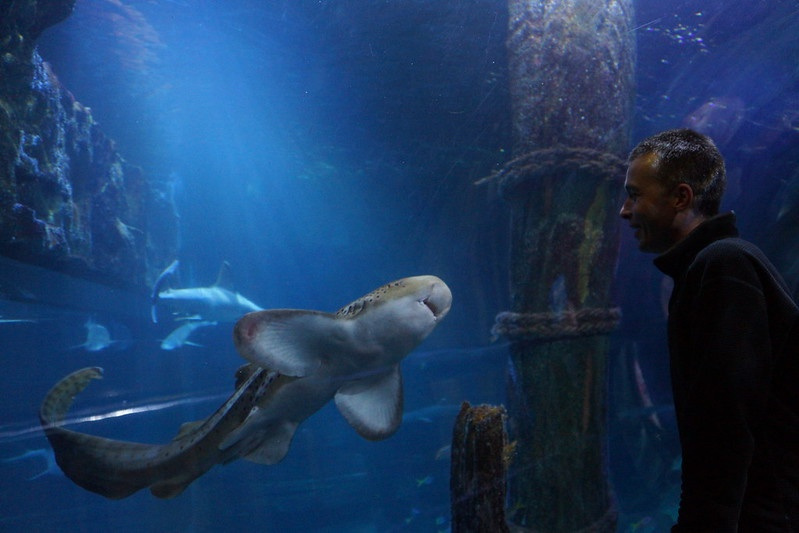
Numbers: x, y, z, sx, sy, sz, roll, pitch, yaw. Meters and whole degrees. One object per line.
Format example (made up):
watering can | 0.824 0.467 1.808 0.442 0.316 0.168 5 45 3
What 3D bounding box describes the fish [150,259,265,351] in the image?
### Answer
fish | -3.944 0.677 14.332 3.710 1.356 1.225 4 2 23
